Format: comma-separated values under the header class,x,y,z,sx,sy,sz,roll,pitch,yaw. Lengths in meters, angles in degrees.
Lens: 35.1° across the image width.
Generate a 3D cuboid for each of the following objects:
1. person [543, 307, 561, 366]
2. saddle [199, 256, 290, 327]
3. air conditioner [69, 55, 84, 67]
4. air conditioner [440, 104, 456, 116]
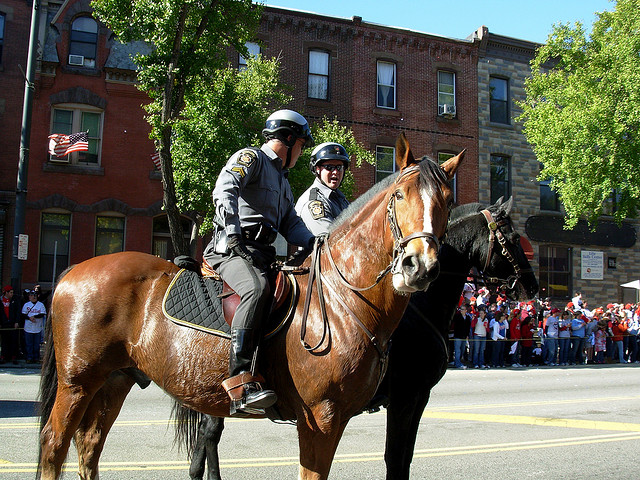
class,x,y,z,sx,sy,sz,roll,pitch,yaw
person,8.135,3.399,35.399,0.468,1.977,0.777,0,-4,12
saddle,-1.524,0.957,21.482,0.761,1.506,2.057,41,-11,-25
air conditioner,-9.190,-6.681,38.036,0.786,0.451,0.360,1,-3,-11
air conditioner,5.383,-5.446,42.423,0.591,0.488,0.418,7,-1,-34
